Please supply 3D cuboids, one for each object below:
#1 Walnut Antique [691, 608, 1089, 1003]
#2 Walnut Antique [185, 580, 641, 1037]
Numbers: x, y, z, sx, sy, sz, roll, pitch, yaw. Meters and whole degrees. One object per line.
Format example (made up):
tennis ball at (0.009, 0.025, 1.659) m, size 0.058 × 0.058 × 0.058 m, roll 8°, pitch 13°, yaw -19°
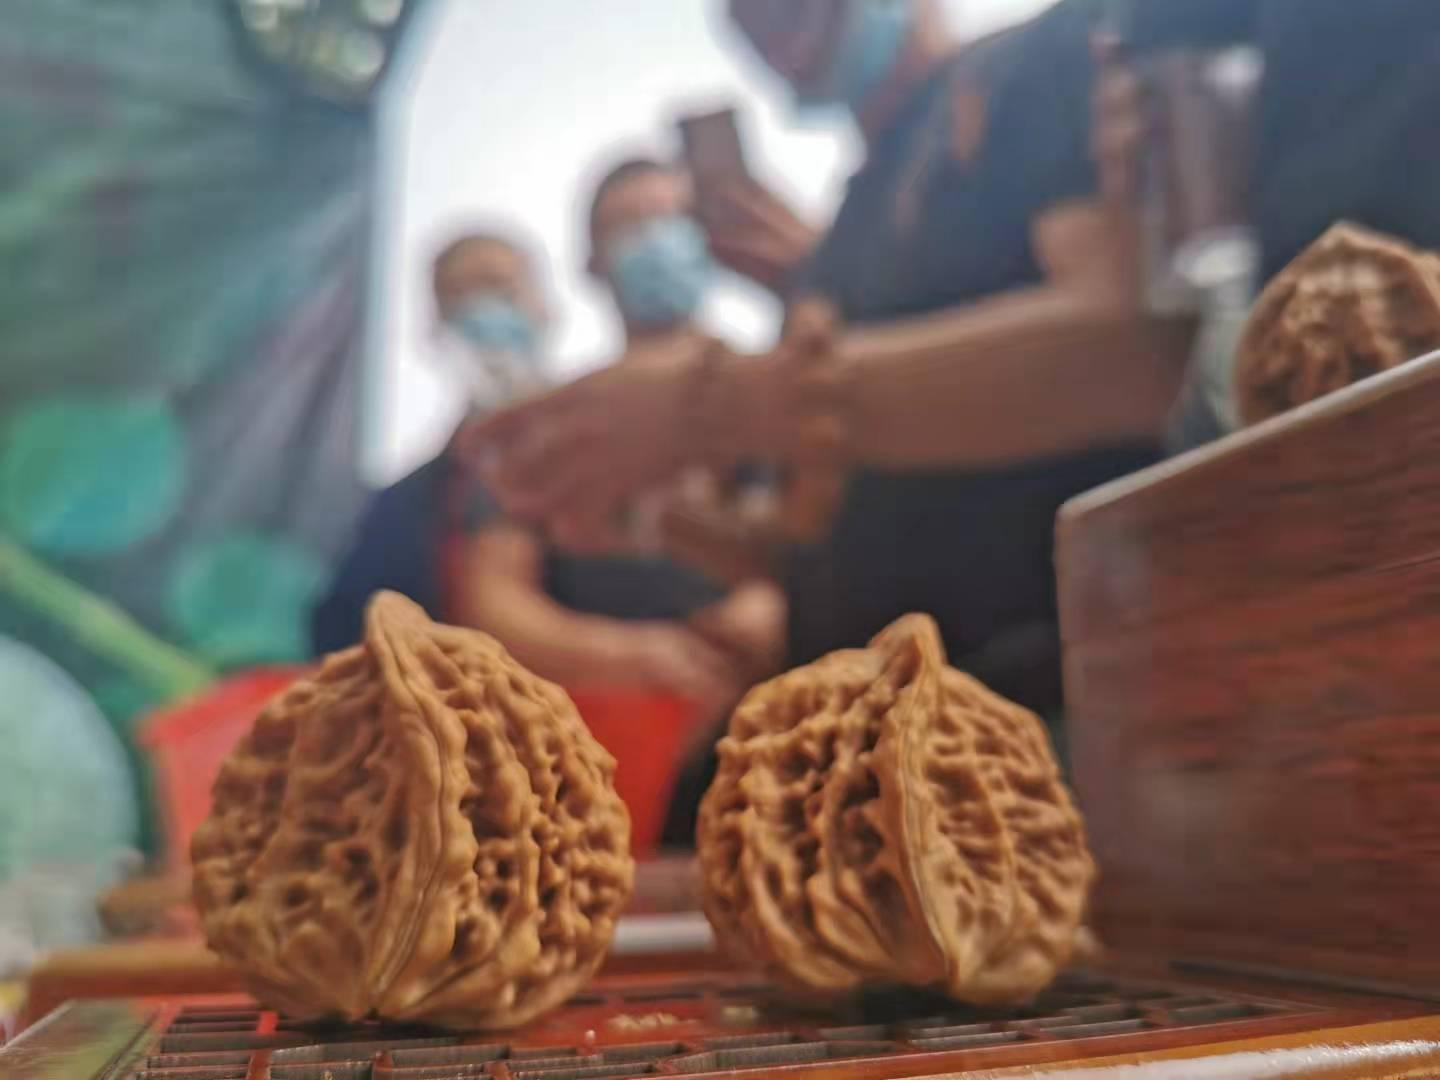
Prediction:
Walnut Antique at (0.133, 0.226, 1.386) m, size 0.274 × 0.131 × 0.296 m, roll 9°, pitch 59°, yaw 0°
Walnut Antique at (-0.226, 0.194, 1.297) m, size 0.298 × 0.170 × 0.321 m, roll 7°, pitch 76°, yaw -14°
